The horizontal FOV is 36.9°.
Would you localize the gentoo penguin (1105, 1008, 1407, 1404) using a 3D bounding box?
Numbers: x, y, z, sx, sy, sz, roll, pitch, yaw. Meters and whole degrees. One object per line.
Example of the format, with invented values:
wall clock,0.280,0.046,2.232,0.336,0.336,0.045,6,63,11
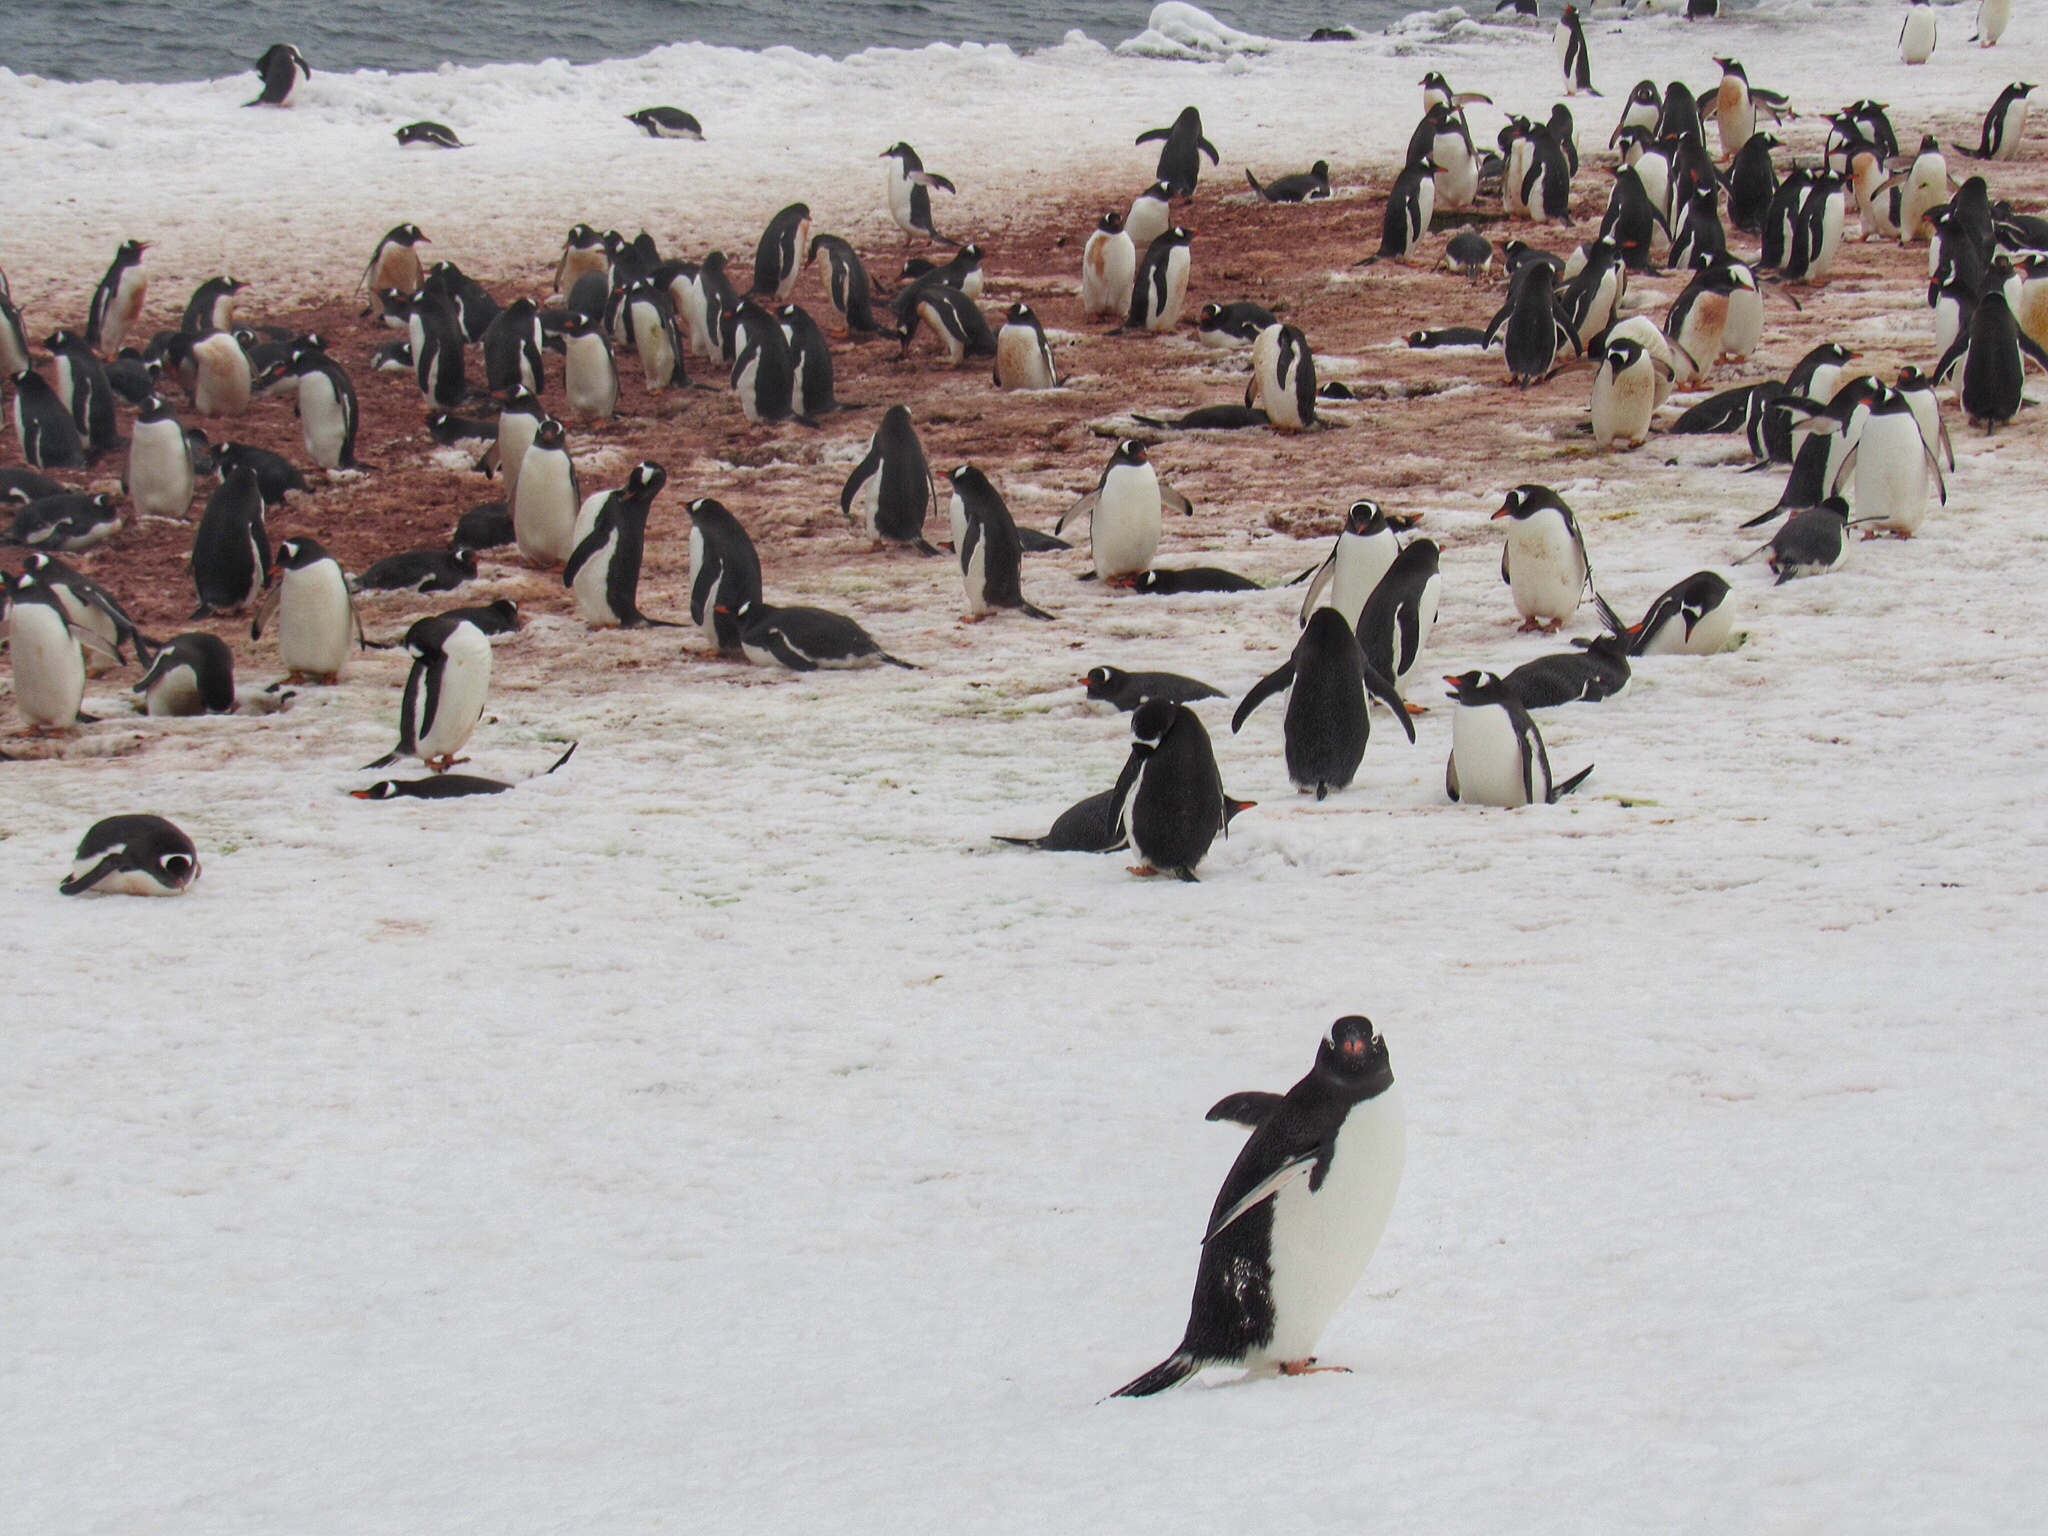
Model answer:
gentoo penguin,0.735,1.222,9.235,1.246,0.864,1.203,-9,3,0
